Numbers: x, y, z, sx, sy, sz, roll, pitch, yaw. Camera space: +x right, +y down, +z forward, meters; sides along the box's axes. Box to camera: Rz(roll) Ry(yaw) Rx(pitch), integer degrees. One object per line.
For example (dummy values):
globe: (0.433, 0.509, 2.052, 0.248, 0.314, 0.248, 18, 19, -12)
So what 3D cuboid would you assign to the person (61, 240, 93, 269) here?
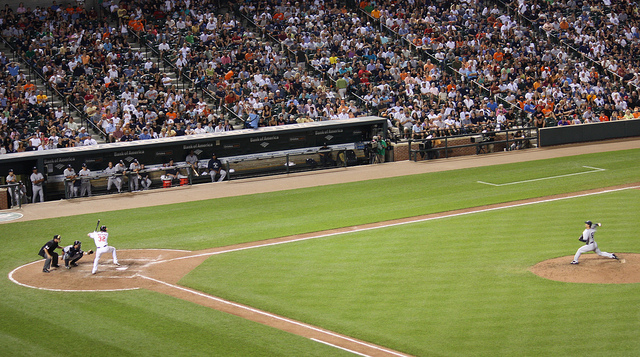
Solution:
person: (-13.192, 4.188, 51.414, 1.892, 1.156, 1.160, 4, -1, -14)

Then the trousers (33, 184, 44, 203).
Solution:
trousers: (-17.893, 0.987, 59.970, 0.740, 1.155, 0.556, -10, 2, -16)

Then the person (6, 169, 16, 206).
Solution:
person: (-19.095, 0.622, 58.674, 0.604, 2.268, 0.908, -12, 3, -17)

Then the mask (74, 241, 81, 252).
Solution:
mask: (-13.169, 3.736, 51.348, 0.511, 0.443, 0.368, 27, 17, -26)

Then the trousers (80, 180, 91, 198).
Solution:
trousers: (-15.124, 0.627, 60.821, 0.772, 1.083, 0.459, -10, 2, -12)

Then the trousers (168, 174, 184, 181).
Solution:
trousers: (-9.499, -0.063, 62.370, 0.335, 0.376, 1.169, -7, 1, 45)

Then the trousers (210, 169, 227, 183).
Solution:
trousers: (-6.771, -0.120, 63.183, 0.908, 0.762, 0.300, 3, 5, -14)

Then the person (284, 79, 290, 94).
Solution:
person: (-2.324, -6.520, 67.606, 0.419, 0.947, 0.429, -10, 2, 10)

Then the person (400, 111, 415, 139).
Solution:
person: (6.051, -3.873, 66.650, 0.965, 1.591, 0.677, -11, 3, -36)

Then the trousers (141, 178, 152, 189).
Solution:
trousers: (-11.351, 0.354, 61.895, 0.661, 0.687, 0.252, -9, 2, -11)

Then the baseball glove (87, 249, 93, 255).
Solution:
baseball glove: (-12.341, 3.977, 50.777, 0.293, 0.100, 0.425, 10, -14, -18)

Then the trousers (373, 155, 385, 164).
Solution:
trousers: (4.061, -1.315, 66.151, 0.902, 0.636, 0.208, 0, 2, -11)

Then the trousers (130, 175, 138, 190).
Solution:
trousers: (-12.004, 0.280, 61.329, 0.531, 0.930, 0.675, -10, 2, -10)

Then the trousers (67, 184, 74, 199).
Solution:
trousers: (-15.872, 0.826, 60.248, 0.263, 0.645, 0.295, 4, -2, -26)

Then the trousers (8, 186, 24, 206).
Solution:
trousers: (-18.974, 1.117, 58.865, 1.488, 1.078, 0.383, 1, 7, -14)
